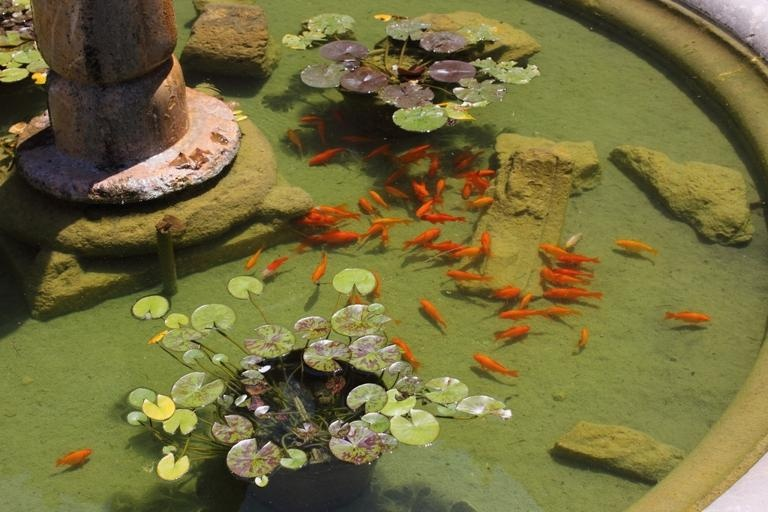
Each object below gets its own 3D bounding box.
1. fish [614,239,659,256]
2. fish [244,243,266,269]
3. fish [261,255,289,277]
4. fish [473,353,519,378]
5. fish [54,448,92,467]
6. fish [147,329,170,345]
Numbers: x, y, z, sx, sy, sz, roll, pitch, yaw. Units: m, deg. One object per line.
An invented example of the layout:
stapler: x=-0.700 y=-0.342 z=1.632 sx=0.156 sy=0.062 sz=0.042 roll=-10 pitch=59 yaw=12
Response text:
fish: x=2.966 y=-0.108 z=12.324 sx=0.507 sy=0.203 sz=0.163 roll=11 pitch=63 yaw=4
fish: x=-1.513 y=0.024 z=12.126 sx=0.352 sy=0.147 sz=0.072 roll=-43 pitch=99 yaw=-15
fish: x=-1.269 y=0.142 z=12.061 sx=0.441 sy=0.142 sz=0.076 roll=-28 pitch=25 yaw=-20
fish: x=1.189 y=1.184 z=11.390 sx=0.509 sy=0.220 sz=0.192 roll=33 pitch=66 yaw=17
fish: x=-3.126 y=2.055 z=10.822 sx=0.481 sy=0.137 sz=0.132 roll=-12 pitch=40 yaw=-14
fish: x=-2.443 y=0.892 z=11.312 sx=0.286 sy=0.062 sz=0.080 roll=-27 pitch=62 yaw=-15
